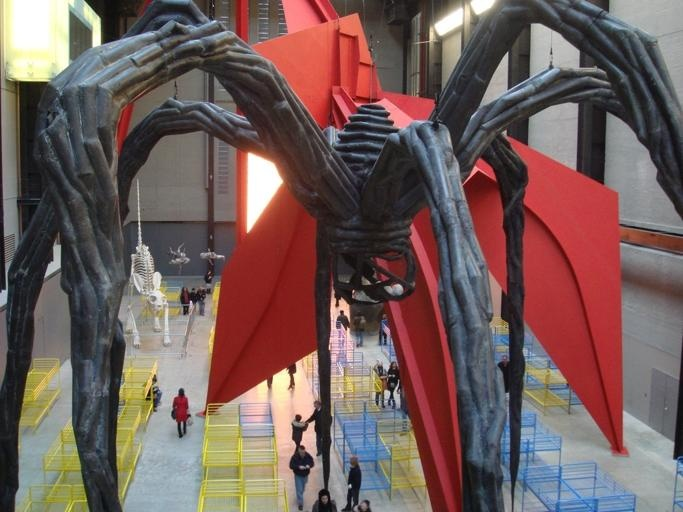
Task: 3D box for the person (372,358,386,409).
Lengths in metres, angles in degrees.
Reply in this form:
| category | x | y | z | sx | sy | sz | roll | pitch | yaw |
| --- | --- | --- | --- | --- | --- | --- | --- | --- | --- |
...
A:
| category | x | y | z | sx | sy | sz | roll | pitch | yaw |
| --- | --- | --- | --- | --- | --- | --- | --- | --- | --- |
| person | 1.159 | 3.708 | 19.396 | 0.373 | 1.424 | 0.362 | -7 | 13 | -26 |

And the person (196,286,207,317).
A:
| category | x | y | z | sx | sy | sz | roll | pitch | yaw |
| --- | --- | --- | --- | --- | --- | --- | --- | --- | --- |
| person | -6.125 | 1.932 | 28.363 | 0.422 | 1.186 | 1.121 | 2 | -5 | -12 |

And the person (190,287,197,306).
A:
| category | x | y | z | sx | sy | sz | roll | pitch | yaw |
| --- | --- | --- | --- | --- | --- | --- | --- | --- | --- |
| person | -6.306 | 1.693 | 28.047 | 0.367 | 0.684 | 1.411 | 2 | -6 | -13 |

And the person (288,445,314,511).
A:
| category | x | y | z | sx | sy | sz | roll | pitch | yaw |
| --- | --- | --- | --- | --- | --- | --- | --- | --- | --- |
| person | -0.893 | 4.703 | 14.251 | 0.488 | 1.336 | 0.767 | 1 | -5 | -4 |

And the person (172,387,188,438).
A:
| category | x | y | z | sx | sy | sz | roll | pitch | yaw |
| --- | --- | --- | --- | --- | --- | --- | --- | --- | --- |
| person | -4.162 | 3.972 | 16.936 | 0.443 | 1.335 | 0.358 | -8 | 18 | -39 |

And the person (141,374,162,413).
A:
| category | x | y | z | sx | sy | sz | roll | pitch | yaw |
| --- | --- | --- | --- | --- | --- | --- | --- | --- | --- |
| person | -5.343 | 3.854 | 18.800 | 0.352 | 1.003 | 0.672 | -1 | -5 | 23 |

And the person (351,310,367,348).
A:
| category | x | y | z | sx | sy | sz | roll | pitch | yaw |
| --- | --- | --- | --- | --- | --- | --- | --- | --- | --- |
| person | 0.662 | 2.734 | 25.291 | 0.533 | 1.316 | 1.609 | 1 | -5 | 2 |

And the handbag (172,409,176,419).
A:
| category | x | y | z | sx | sy | sz | roll | pitch | yaw |
| --- | --- | --- | --- | --- | --- | --- | --- | --- | --- |
| handbag | -4.302 | 4.001 | 16.797 | 0.053 | 0.195 | 0.183 | 4 | -1 | -14 |

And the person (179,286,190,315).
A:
| category | x | y | z | sx | sy | sz | roll | pitch | yaw |
| --- | --- | --- | --- | --- | --- | --- | --- | --- | --- |
| person | -6.624 | 1.831 | 27.666 | 0.400 | 1.152 | 1.270 | 2 | -5 | -14 |
